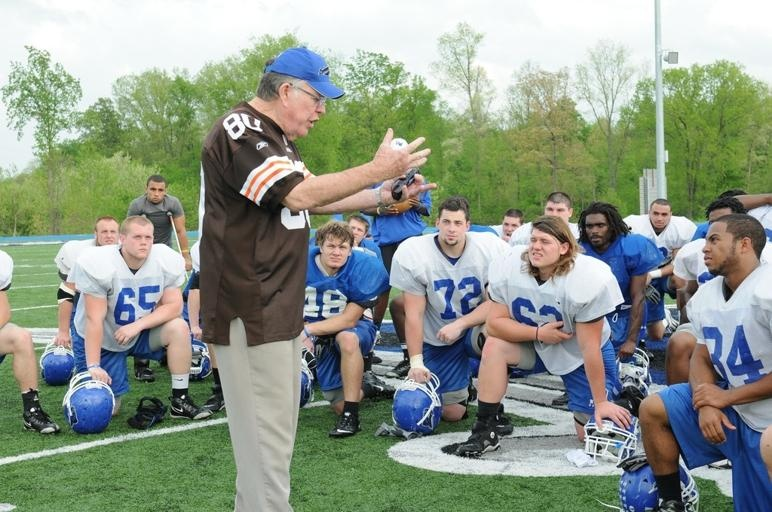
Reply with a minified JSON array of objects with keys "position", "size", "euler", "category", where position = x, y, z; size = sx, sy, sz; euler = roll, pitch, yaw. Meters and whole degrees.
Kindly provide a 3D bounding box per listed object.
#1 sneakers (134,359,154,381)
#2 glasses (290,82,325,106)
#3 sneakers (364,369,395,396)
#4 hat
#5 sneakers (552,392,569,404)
[{"position":[-2.506,1.218,7.777],"size":[0.135,0.253,0.384],"euler":[5,-16,-39],"category":"sneakers"},{"position":[-0.458,-0.952,4.285],"size":[0.144,0.041,0.141],"euler":[32,0,-2],"category":"glasses"},{"position":[-0.131,1.256,7.069],"size":[0.398,0.163,0.147],"euler":[7,13,37],"category":"sneakers"},{"position":[-0.455,-1.107,4.352],"size":[0.486,0.267,0.306],"euler":[18,7,9],"category":"hat"},{"position":[1.623,1.344,6.844],"size":[0.070,0.075,0.185],"euler":[-9,-13,26],"category":"sneakers"}]
